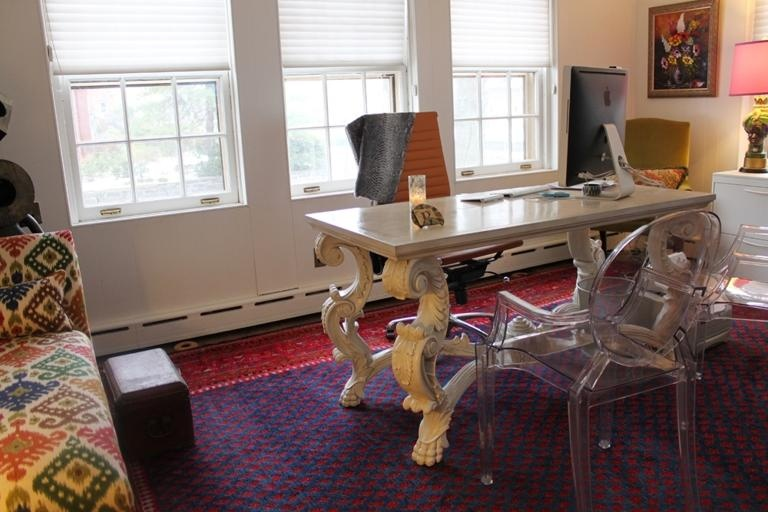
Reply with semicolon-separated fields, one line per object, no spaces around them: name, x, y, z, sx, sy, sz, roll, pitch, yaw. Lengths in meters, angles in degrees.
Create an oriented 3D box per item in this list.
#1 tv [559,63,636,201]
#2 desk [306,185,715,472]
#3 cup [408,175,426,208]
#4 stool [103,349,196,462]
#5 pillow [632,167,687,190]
tv;1.265;-0.707;2.997;0.284;0.711;0.593;10;21;41
desk;0.820;0.288;3.229;2.279;1.153;1.067;-8;13;-26
cup;0.164;-0.313;2.612;0.080;0.156;0.161;-4;16;1
stool;-1.251;0.753;2.849;0.420;0.403;0.607;-7;15;-24
pillow;2.138;-0.596;4.111;0.342;0.113;0.382;-2;17;6
